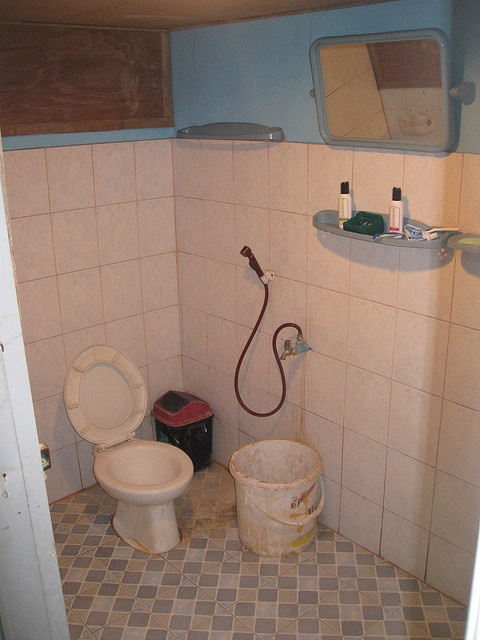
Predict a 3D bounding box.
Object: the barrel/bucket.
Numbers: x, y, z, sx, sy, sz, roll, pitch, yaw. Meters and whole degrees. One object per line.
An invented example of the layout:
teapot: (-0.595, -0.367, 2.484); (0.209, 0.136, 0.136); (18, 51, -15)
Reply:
barrel/bucket: (0.174, 0.818, 2.375); (0.419, 0.399, 0.438); (-2, 13, 1)

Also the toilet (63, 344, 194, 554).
toilet: (-0.476, 0.606, 2.401); (0.534, 0.938, 0.394); (11, 21, 39)

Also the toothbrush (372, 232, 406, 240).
toothbrush: (0.491, -0.279, 1.714); (0.100, 0.025, 0.105); (3, 15, 17)

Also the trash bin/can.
trash bin/can: (-0.282, 0.616, 2.994); (0.259, 0.457, 0.303); (0, 11, -16)

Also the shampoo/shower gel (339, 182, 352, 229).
shampoo/shower gel: (0.389, -0.429, 1.921); (0.053, 0.166, 0.191); (2, 14, 12)

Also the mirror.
mirror: (0.446, -0.726, 1.620); (0.475, 0.368, 0.023); (15, 38, 40)
